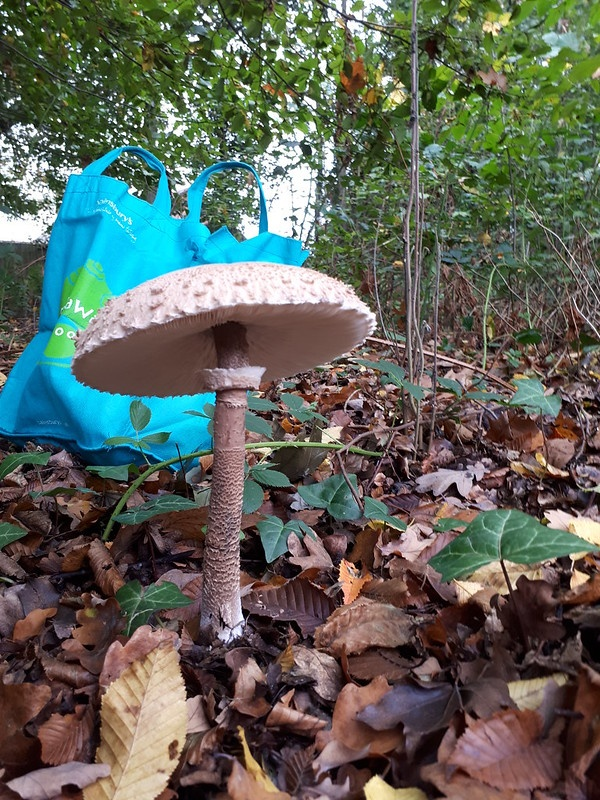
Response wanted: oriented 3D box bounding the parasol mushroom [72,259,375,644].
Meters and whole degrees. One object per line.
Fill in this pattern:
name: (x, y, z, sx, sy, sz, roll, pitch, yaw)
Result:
parasol mushroom: (-0.251, 0.120, 1.944, 0.801, 1.007, 0.779, 3, 8, -11)
